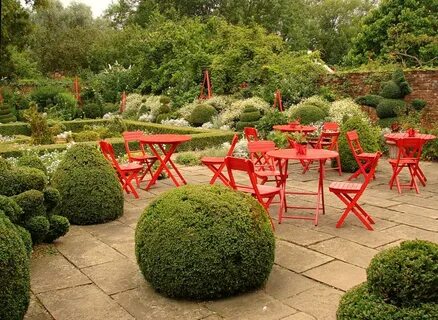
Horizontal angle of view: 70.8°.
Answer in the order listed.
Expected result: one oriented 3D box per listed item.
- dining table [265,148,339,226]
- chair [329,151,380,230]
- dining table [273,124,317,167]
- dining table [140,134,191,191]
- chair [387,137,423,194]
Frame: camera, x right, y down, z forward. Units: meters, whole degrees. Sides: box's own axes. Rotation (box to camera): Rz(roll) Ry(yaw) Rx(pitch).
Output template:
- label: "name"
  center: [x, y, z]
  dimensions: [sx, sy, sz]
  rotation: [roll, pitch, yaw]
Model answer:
- label: "dining table"
  center: [1.453, 0.463, 5.426]
  dimensions: [1.243, 1.042, 1.357]
  rotation: [2, 5, 23]
- label: "chair"
  center: [2.231, 0.495, 5.067]
  dimensions: [0.852, 1.079, 0.709]
  rotation: [0, 0, 25]
- label: "dining table"
  center: [2.196, -0.437, 8.977]
  dimensions: [1.498, 0.934, 1.336]
  rotation: [-1, 6, -7]
- label: "dining table"
  center: [-1.424, -0.146, 7.716]
  dimensions: [1.031, 1.130, 2.784]
  rotation: [-4, 13, -14]
- label: "chair"
  center: [4.492, -0.047, 7.232]
  dimensions: [0.739, 1.132, 2.542]
  rotation: [9, 15, 32]
